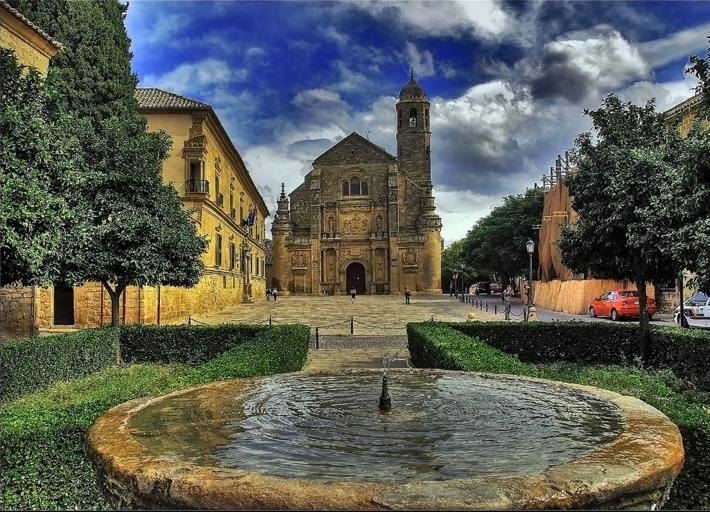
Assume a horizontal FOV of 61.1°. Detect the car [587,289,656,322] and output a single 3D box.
[{"bbox_3d":[11.473,2.188,26.393,0.992,1.297,3.324,2,-6,3],"label":"car"}]
